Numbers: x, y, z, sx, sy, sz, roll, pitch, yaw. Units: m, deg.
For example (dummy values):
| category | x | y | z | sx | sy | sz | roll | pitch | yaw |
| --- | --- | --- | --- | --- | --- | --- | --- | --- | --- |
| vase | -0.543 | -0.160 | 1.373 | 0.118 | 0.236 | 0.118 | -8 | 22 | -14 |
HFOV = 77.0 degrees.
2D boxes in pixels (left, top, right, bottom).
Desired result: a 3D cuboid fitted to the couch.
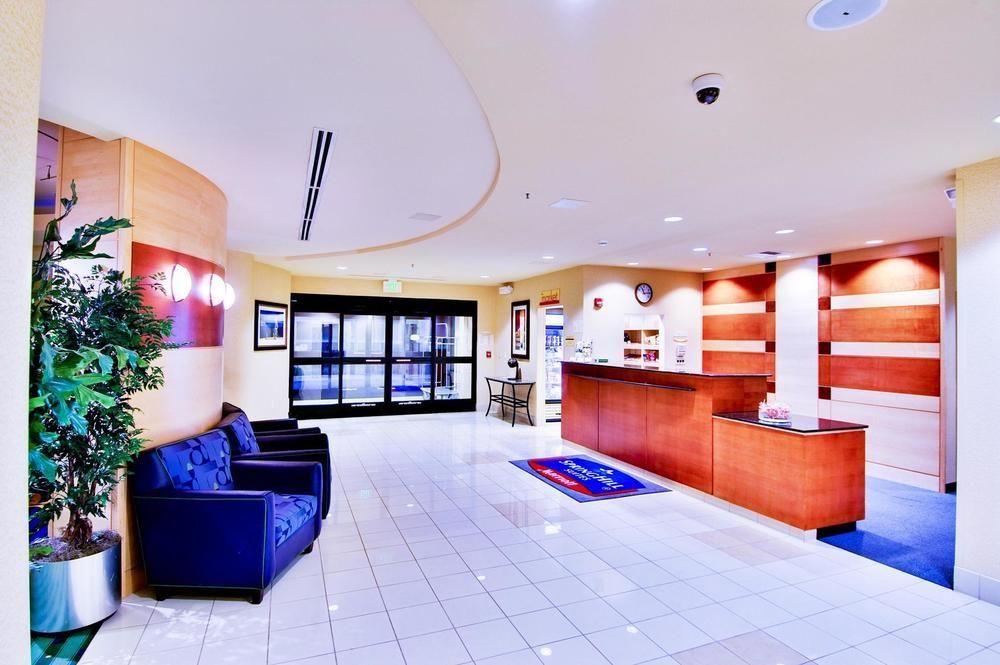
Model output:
| category | x | y | z | sx | sy | sz | roll | pitch | yaw |
| --- | --- | --- | --- | --- | --- | --- | --- | --- | --- |
| couch | -2.186 | 1.472 | 5.332 | 1.091 | 1.324 | 1.834 | 0 | -2 | -2 |

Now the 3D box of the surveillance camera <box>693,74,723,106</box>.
| category | x | y | z | sx | sy | sz | roll | pitch | yaw |
| --- | --- | --- | --- | --- | --- | --- | --- | --- | --- |
| surveillance camera | 1.375 | -1.601 | 4.154 | 0.190 | 0.139 | 0.317 | 4 | 11 | 18 |

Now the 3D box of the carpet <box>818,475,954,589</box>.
| category | x | y | z | sx | sy | sz | roll | pitch | yaw |
| --- | --- | --- | --- | --- | --- | --- | --- | --- | --- |
| carpet | 3.946 | 1.922 | 6.177 | 0.907 | 0.137 | 2.153 | 8 | 12 | 36 |

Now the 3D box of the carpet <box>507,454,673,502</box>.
| category | x | y | z | sx | sy | sz | roll | pitch | yaw |
| --- | --- | --- | --- | --- | --- | --- | --- | --- | --- |
| carpet | 1.026 | 1.743 | 7.550 | 1.158 | 0.213 | 1.735 | -4 | 11 | -27 |

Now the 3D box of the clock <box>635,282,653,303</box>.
| category | x | y | z | sx | sy | sz | roll | pitch | yaw |
| --- | --- | --- | --- | --- | --- | --- | --- | --- | --- |
| clock | 2.337 | -0.612 | 10.126 | 0.344 | 0.362 | 0.104 | -4 | 11 | -25 |
